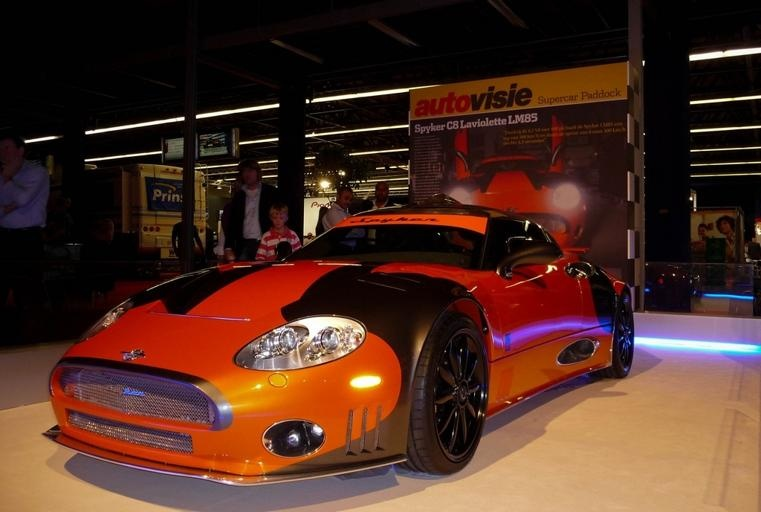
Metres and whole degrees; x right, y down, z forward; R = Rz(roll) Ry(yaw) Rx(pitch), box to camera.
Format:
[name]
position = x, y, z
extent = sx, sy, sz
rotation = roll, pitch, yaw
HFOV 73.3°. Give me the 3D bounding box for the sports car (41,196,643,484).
[sports car]
position = -0.016, 0.461, 3.612
extent = 3.932, 1.741, 1.494
rotation = -2, 4, -37
